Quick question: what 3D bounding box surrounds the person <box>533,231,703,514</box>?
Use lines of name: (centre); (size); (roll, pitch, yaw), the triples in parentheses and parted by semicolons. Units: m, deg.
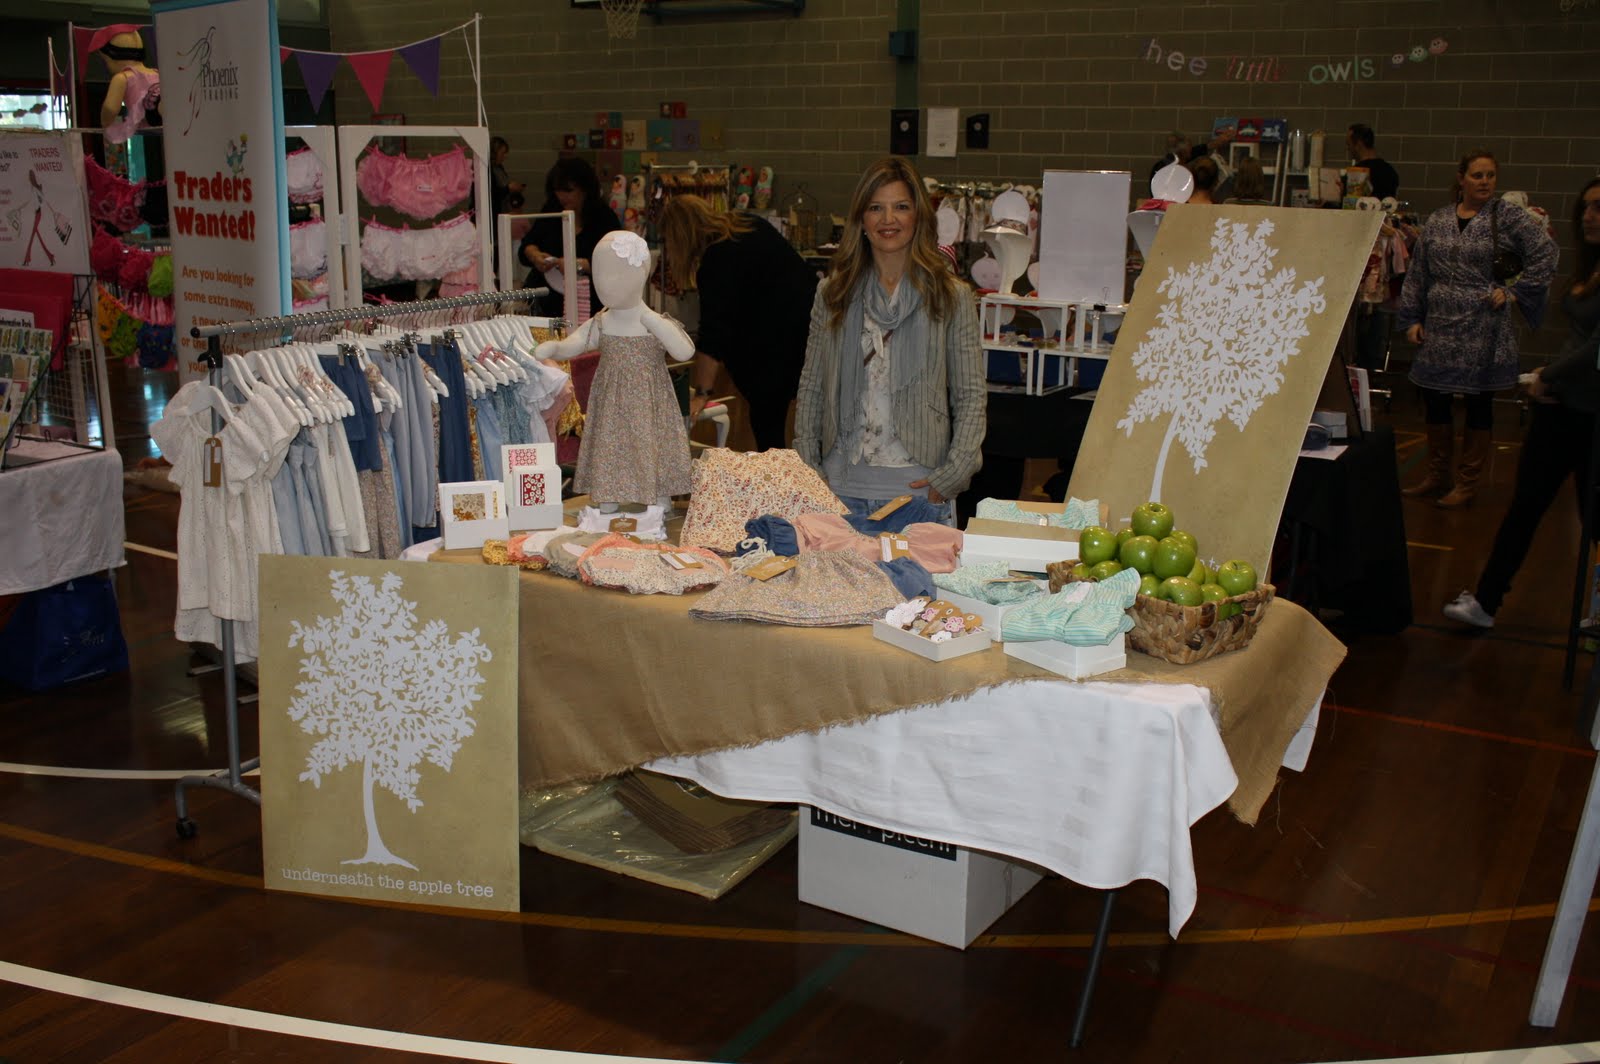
person: (-0.619, -0.574, 4.054); (0.506, 0.956, 0.386); (2, 14, 6)

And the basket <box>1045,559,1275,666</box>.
basket: (1.075, 0.216, 3.109); (0.233, 0.119, 0.316); (-7, 15, -39)

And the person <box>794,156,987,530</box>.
person: (0.322, -0.677, 4.064); (0.679, 1.226, 0.470); (1, 14, 1)

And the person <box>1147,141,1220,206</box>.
person: (2.133, -2.013, 6.322); (0.306, 0.390, 2.009); (5, 16, 17)

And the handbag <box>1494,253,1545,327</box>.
handbag: (4.622, -1.558, 7.271); (0.156, 0.386, 0.364); (-1, 5, -12)

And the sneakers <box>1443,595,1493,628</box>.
sneakers: (3.482, 0.402, 5.994); (0.211, 0.134, 0.130); (11, 10, 27)
